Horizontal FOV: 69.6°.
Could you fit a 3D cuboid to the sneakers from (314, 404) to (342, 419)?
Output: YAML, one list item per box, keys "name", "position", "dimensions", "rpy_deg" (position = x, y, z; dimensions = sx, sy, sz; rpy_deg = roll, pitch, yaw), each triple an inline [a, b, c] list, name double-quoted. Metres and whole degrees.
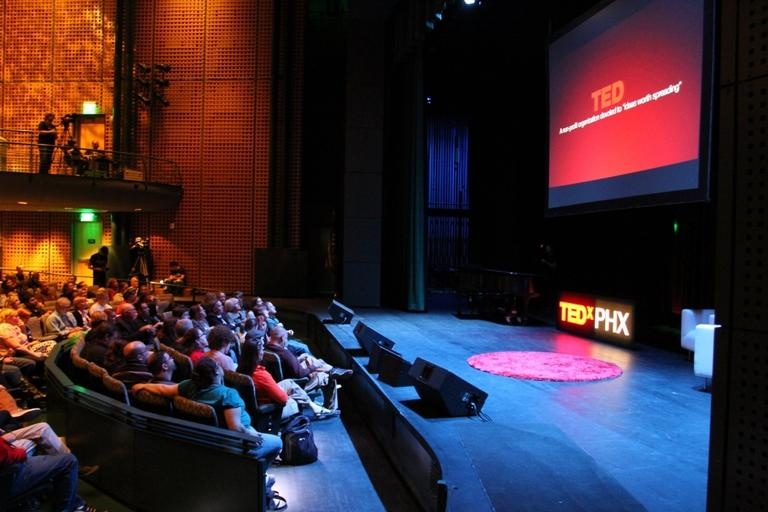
- name: "sneakers"
  position: [-0.774, 2.052, 7.203]
  dimensions: [0.415, 0.176, 0.141]
  rpy_deg: [-1, 3, -25]

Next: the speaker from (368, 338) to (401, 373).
- name: "speaker"
  position: [-0.015, 1.272, 7.006]
  dimensions: [0.335, 0.458, 0.457]
  rpy_deg: [1, 17, -29]

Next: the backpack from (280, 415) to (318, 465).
- name: "backpack"
  position: [-0.935, 2.083, 6.117]
  dimensions: [0.393, 0.498, 0.293]
  rpy_deg: [1, 1, -37]

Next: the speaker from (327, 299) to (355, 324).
- name: "speaker"
  position: [-0.827, 1.118, 10.461]
  dimensions: [0.450, 0.328, 0.473]
  rpy_deg: [-13, 3, -6]

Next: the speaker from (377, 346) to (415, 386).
- name: "speaker"
  position: [0.173, 1.370, 6.492]
  dimensions: [0.477, 0.363, 0.506]
  rpy_deg: [-2, -33, 32]
